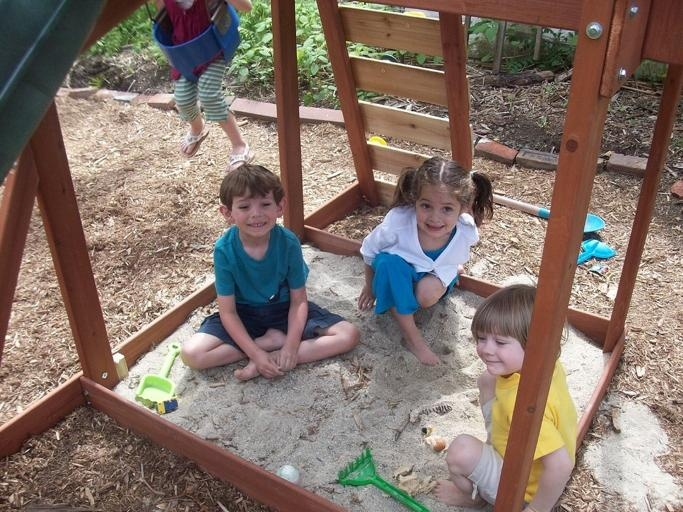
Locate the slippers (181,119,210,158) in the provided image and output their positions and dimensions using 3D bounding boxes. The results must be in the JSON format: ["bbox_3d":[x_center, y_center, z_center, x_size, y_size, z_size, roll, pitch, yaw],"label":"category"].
[{"bbox_3d":[-1.018,-0.811,3.948,0.151,0.263,0.093,43,22,26],"label":"slippers"}]

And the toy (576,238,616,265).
[{"bbox_3d":[1.545,-0.043,3.522,0.288,0.060,0.197,-7,33,-8],"label":"toy"}]

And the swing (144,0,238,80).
[{"bbox_3d":[-0.848,-1.261,3.386,0.492,0.467,0.279,-9,32,-10],"label":"swing"}]

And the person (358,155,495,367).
[{"bbox_3d":[0.437,0.056,2.861,0.708,1.016,0.732,-6,47,-4],"label":"person"}]

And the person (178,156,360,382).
[{"bbox_3d":[-0.374,0.099,2.970,0.835,0.949,0.657,-12,38,-19],"label":"person"}]

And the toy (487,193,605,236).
[{"bbox_3d":[1.367,-0.292,3.802,0.734,0.149,0.298,12,35,20],"label":"toy"}]
